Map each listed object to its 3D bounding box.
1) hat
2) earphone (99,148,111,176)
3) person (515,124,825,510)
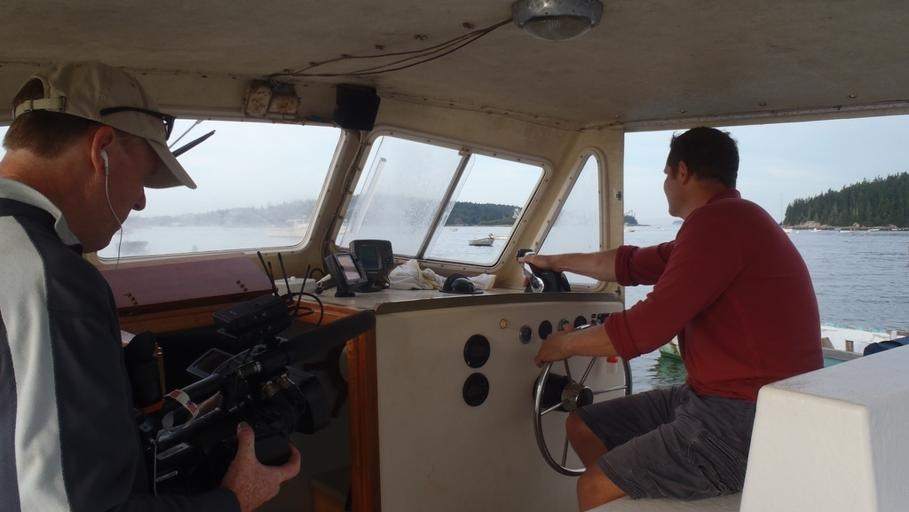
[{"bbox_3d":[-1.290,-0.532,2.341,0.641,0.317,0.450,14,-3,-35],"label":"hat"},{"bbox_3d":[-1.216,-0.328,2.149,0.026,0.084,0.023,-3,6,-2],"label":"earphone"},{"bbox_3d":[1.048,0.288,2.984,0.769,1.657,1.079,6,6,-36],"label":"person"}]
